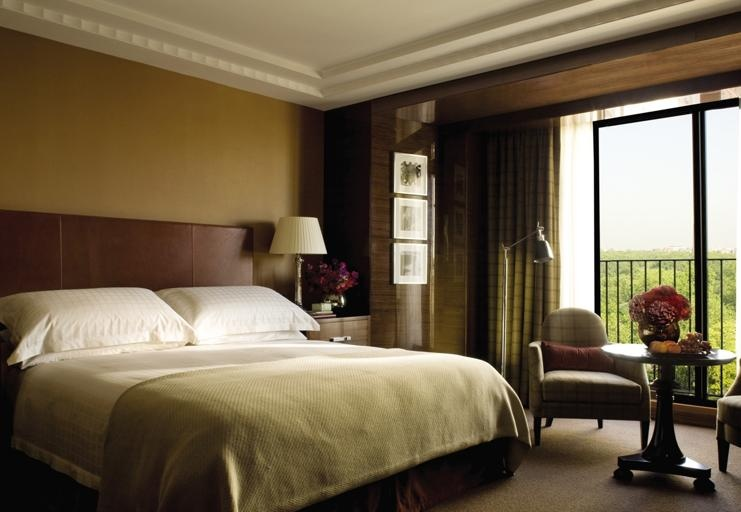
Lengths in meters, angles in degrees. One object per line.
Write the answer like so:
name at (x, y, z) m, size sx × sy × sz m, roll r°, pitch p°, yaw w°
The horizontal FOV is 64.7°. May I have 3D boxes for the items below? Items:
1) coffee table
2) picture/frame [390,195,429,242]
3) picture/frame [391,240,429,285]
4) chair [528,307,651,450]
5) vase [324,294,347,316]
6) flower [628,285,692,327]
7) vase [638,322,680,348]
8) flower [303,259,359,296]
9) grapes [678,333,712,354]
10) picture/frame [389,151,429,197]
coffee table at (2.109, 1.158, 4.405) m, size 0.973 × 1.013 × 0.939 m, roll 4°, pitch -5°, yaw -43°
picture/frame at (0.441, -0.396, 6.119) m, size 0.381 × 0.425 × 0.055 m, roll 6°, pitch 15°, yaw 28°
picture/frame at (0.431, 0.078, 6.080) m, size 0.362 × 0.393 × 0.047 m, roll 2°, pitch -4°, yaw -11°
chair at (1.810, 0.997, 5.134) m, size 0.976 × 1.170 × 1.186 m, roll 2°, pitch -9°, yaw -2°
vase at (-0.316, 0.479, 5.876) m, size 0.213 × 0.215 × 0.187 m, roll -3°, pitch -6°, yaw 24°
flower at (2.184, 0.395, 4.347) m, size 0.317 × 0.249 × 0.392 m, roll 10°, pitch 2°, yaw -44°
vase at (2.118, 0.566, 4.274) m, size 0.201 × 0.149 × 0.214 m, roll 4°, pitch -6°, yaw -42°
flower at (-0.357, 0.262, 5.909) m, size 0.456 × 0.278 × 0.386 m, roll -4°, pitch 11°, yaw -21°
grapes at (2.346, 0.619, 4.183) m, size 0.186 × 0.077 × 0.148 m, roll -1°, pitch -1°, yaw -21°
picture/frame at (0.392, -0.857, 6.101) m, size 0.517 × 0.495 × 0.052 m, roll 2°, pitch -4°, yaw -28°
